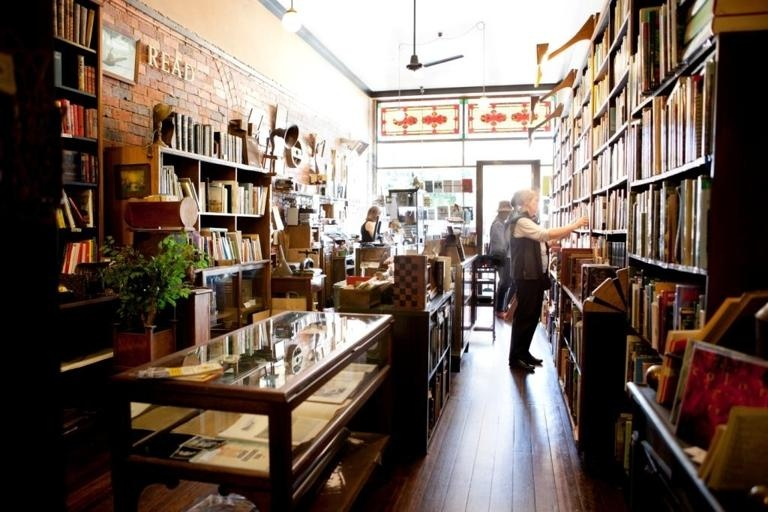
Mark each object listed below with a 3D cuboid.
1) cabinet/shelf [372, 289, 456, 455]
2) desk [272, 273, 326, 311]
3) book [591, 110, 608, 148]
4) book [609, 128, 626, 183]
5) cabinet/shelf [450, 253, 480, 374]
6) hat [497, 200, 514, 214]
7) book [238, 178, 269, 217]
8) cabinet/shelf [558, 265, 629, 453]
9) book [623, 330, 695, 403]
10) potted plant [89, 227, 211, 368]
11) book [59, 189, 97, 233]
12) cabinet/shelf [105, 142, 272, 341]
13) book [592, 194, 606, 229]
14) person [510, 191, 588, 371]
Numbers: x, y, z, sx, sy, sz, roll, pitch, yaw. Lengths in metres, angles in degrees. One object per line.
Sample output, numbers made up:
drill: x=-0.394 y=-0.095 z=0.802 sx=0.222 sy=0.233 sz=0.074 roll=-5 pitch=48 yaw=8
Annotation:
cabinet/shelf: x=0.189 y=0.803 z=3.820 sx=0.339 sy=0.926 sz=1.097 roll=-1 pitch=1 yaw=13
desk: x=-1.002 y=0.455 z=6.446 sx=0.507 sy=0.381 sz=0.727 roll=2 pitch=-1 yaw=7
book: x=1.828 y=-1.054 z=4.757 sx=0.079 sy=0.252 sz=0.181 roll=5 pitch=8 yaw=22
book: x=1.636 y=-0.671 z=3.898 sx=0.090 sy=0.284 sz=0.202 roll=3 pitch=-4 yaw=-1
cabinet/shelf: x=0.838 y=0.612 z=5.853 sx=0.206 sy=0.581 sz=1.099 roll=-1 pitch=7 yaw=6
hat: x=1.626 y=-0.666 z=7.494 sx=0.197 sy=0.109 sz=0.195 roll=6 pitch=-5 yaw=-25
book: x=-1.413 y=-0.612 z=6.043 sx=0.291 sy=0.418 sz=0.408 roll=2 pitch=2 yaw=5
cabinet/shelf: x=1.427 y=0.728 z=3.780 sx=0.339 sy=0.932 sz=1.231 roll=0 pitch=3 yaw=13
book: x=1.286 y=0.509 z=2.619 sx=0.348 sy=0.153 sz=0.484 roll=0 pitch=2 yaw=25
potted plant: x=-1.666 y=0.218 z=4.380 sx=0.810 sy=1.172 sz=1.011 roll=5 pitch=4 yaw=32
book: x=-2.231 y=-0.331 z=4.088 sx=0.308 sy=0.341 sz=0.111 roll=1 pitch=0 yaw=1
cabinet/shelf: x=-1.642 y=-0.114 z=4.635 sx=0.451 sy=1.790 sz=1.801 roll=-1 pitch=1 yaw=3
book: x=1.829 y=-0.371 z=4.760 sx=0.051 sy=0.232 sz=0.227 roll=4 pitch=7 yaw=6
person: x=1.707 y=0.231 z=5.617 sx=0.810 sy=1.755 sz=0.845 roll=-1 pitch=1 yaw=-17
